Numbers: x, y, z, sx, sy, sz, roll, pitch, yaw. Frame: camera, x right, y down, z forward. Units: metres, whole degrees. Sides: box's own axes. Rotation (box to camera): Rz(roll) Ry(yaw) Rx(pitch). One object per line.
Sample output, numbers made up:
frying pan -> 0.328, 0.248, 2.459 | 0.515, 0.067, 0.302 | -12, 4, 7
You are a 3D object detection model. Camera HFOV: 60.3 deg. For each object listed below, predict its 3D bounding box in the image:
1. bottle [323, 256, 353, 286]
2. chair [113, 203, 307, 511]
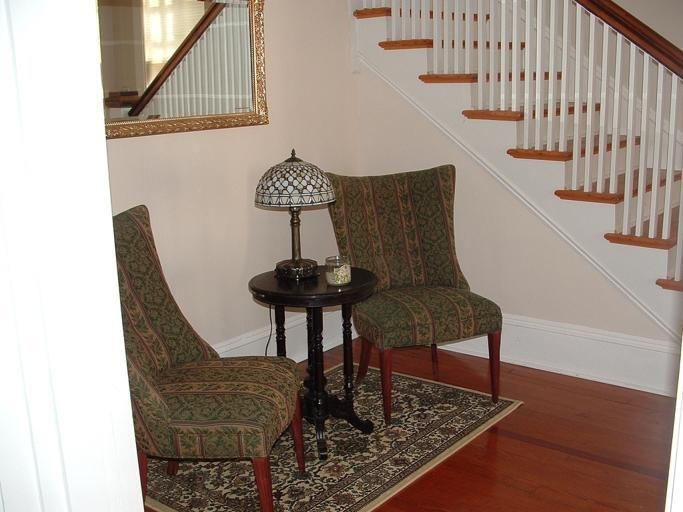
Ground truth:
bottle -> -0.019, 0.075, 3.011 | 0.139, 0.133, 0.134 | -3, 11, -15
chair -> -0.532, 0.441, 2.528 | 0.725, 1.243, 0.783 | -6, 15, -19
